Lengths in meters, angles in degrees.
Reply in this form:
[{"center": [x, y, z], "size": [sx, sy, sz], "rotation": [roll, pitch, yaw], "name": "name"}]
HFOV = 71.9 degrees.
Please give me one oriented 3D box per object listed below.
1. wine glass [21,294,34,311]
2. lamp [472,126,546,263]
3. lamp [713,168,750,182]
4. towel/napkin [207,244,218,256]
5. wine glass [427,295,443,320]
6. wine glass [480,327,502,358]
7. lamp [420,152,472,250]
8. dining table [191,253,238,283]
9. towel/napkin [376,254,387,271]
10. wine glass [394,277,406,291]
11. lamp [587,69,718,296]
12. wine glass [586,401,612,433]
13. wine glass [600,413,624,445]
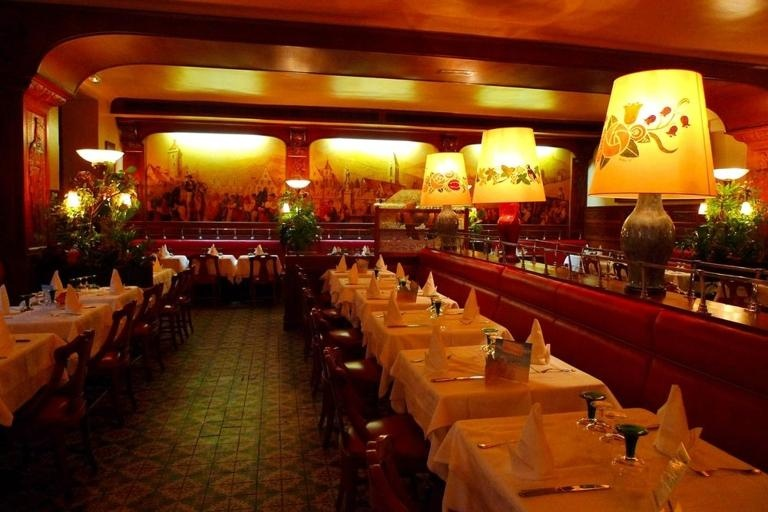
[{"center": [-4.043, 0.532, 5.988], "size": [0.138, 0.156, 0.141], "rotation": [3, -4, 24], "name": "wine glass"}, {"center": [1.458, -0.709, 6.052], "size": [0.823, 1.447, 0.834], "rotation": [-3, 9, 4], "name": "lamp"}, {"center": [7.434, -1.717, 11.256], "size": [0.564, 0.307, 1.079], "rotation": [8, 13, 34], "name": "lamp"}, {"center": [-3.950, -0.133, 12.139], "size": [0.278, 0.300, 0.283], "rotation": [4, 4, 36], "name": "towel/napkin"}, {"center": [0.550, 0.546, 5.457], "size": [0.164, 0.190, 0.172], "rotation": [0, 2, -5], "name": "wine glass"}, {"center": [0.860, 0.710, 4.266], "size": [0.185, 0.206, 0.187], "rotation": [0, -1, 3], "name": "wine glass"}, {"center": [0.904, -0.769, 7.778], "size": [0.701, 1.465, 1.162], "rotation": [1, 10, 7], "name": "lamp"}, {"center": [-3.443, 0.221, 11.015], "size": [0.649, 0.347, 0.660], "rotation": [2, 2, -3], "name": "dining table"}, {"center": [-0.045, 0.127, 8.341], "size": [0.180, 0.223, 0.213], "rotation": [-1, 4, -6], "name": "towel/napkin"}, {"center": [0.226, 0.336, 6.059], "size": [0.128, 0.149, 0.130], "rotation": [-1, 11, -14], "name": "wine glass"}, {"center": [2.135, -0.542, 4.137], "size": [0.869, 1.659, 0.882], "rotation": [-7, 12, -36], "name": "lamp"}, {"center": [1.348, 0.997, 3.340], "size": [0.164, 0.172, 0.162], "rotation": [1, 2, 44], "name": "wine glass"}, {"center": [1.386, 1.047, 3.211], "size": [0.135, 0.150, 0.135], "rotation": [-1, 0, 23], "name": "wine glass"}]
